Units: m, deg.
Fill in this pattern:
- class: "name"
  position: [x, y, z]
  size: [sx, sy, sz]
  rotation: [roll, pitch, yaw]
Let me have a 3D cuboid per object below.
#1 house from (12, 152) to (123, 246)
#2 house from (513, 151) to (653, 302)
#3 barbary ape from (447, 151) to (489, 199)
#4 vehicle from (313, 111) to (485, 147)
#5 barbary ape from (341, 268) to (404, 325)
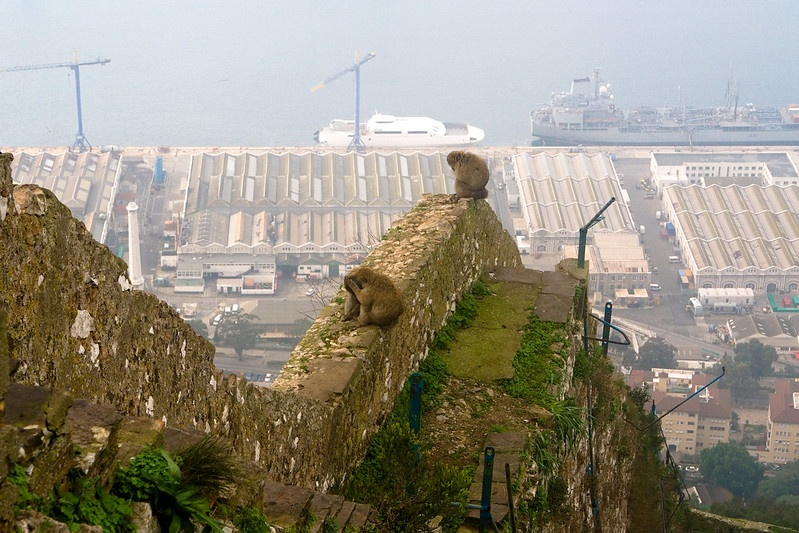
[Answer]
- class: "house"
  position: [-11.261, -2.631, 33.067]
  size: [4.093, 1.375, 6.024]
  rotation: [8, 31, -14]
- class: "house"
  position: [10.974, -1.920, 58.568]
  size: [6.932, 3.240, 12.724]
  rotation: [-2, 42, -1]
- class: "barbary ape"
  position: [0.721, -0.946, 9.810]
  size: [0.451, 0.484, 0.379]
  rotation: [6, 15, 19]
- class: "vehicle"
  position: [0.004, -10.992, 77.101]
  size: [12.545, 3.727, 4.144]
  rotation: [-1, -7, -8]
- class: "barbary ape"
  position: [-0.201, 0.221, 7.303]
  size: [0.519, 0.479, 0.358]
  rotation: [2, 20, -9]
